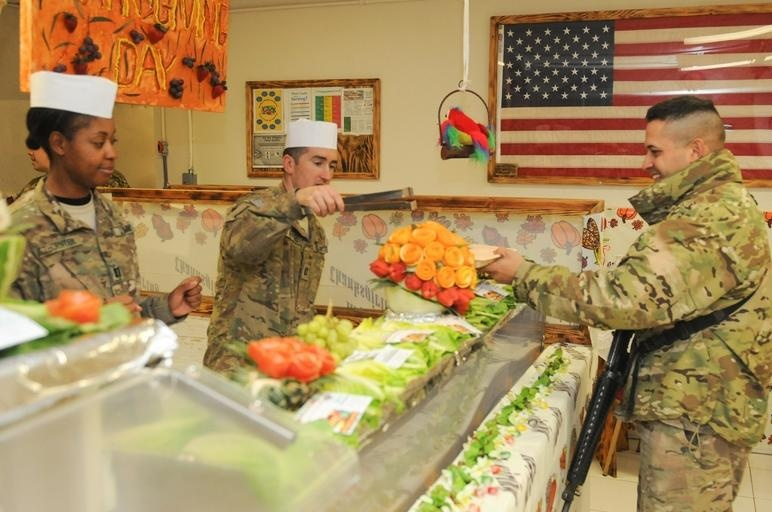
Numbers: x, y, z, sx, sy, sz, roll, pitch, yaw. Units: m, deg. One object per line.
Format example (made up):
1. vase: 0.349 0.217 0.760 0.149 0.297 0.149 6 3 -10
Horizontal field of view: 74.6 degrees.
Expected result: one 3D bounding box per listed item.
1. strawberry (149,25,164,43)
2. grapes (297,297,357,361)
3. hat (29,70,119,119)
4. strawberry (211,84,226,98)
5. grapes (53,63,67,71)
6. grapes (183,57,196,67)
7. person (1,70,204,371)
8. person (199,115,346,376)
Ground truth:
1. strawberry: -1.105 -1.065 2.429 0.064 0.085 0.063 37 -6 -35
2. grapes: -0.146 0.197 1.236 0.108 0.095 0.097 6 11 26
3. hat: -1.057 -0.540 1.696 0.262 0.154 0.158 -3 10 -20
4. strawberry: -0.928 -0.906 2.779 0.046 0.068 0.050 36 1 24
5. grapes: -1.307 -0.749 2.030 0.052 0.030 0.023 -16 -8 -43
6. grapes: -1.021 -0.998 2.628 0.055 0.053 0.023 13 -21 -43
7. person: -1.046 -0.215 1.690 0.359 0.777 0.309 -4 11 -27
8. person: -0.501 -0.052 2.122 0.598 1.073 0.848 0 10 -8
